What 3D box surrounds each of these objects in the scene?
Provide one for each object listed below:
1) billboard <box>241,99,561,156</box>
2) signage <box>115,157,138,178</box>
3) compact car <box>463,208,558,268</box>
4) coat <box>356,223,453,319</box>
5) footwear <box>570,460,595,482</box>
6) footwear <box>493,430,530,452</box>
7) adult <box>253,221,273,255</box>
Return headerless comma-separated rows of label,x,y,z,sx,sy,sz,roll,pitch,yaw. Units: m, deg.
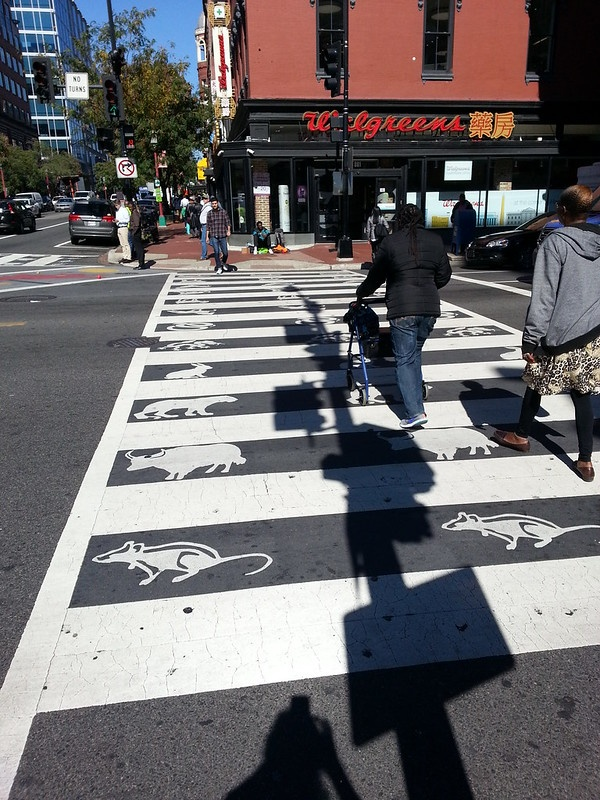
billboard,4.694,-11.937,25.555,13.812,2.185,1.748,-4,14,-10
signage,-7.027,-9.461,23.483,0.706,0.948,1.983,-5,14,-17
compact car,6.173,-4.663,17.258,2.912,1.027,1.361,-5,20,-7
coat,0.885,-1.094,5.002,0.963,0.913,0.686,-3,24,1
footwear,2.007,0.486,4.125,0.077,0.097,0.217,-3,25,9
footwear,1.695,0.331,4.719,0.107,0.128,0.317,-7,27,-29
adult,-1.545,-6.616,23.659,0.612,1.290,1.004,-3,13,-7
